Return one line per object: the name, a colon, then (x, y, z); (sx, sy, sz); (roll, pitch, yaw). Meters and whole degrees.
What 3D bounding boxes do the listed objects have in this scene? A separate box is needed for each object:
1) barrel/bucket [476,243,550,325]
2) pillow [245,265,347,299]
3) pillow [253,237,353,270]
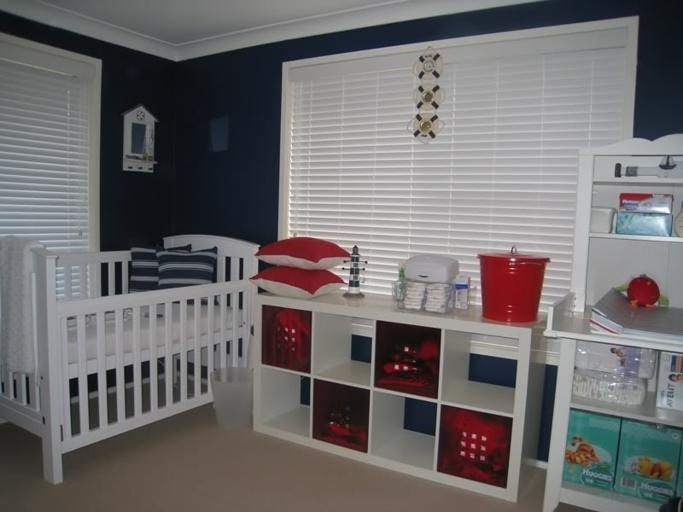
barrel/bucket: (0.993, 0.152, 2.837); (0.392, 0.412, 0.397); (0, 3, 0)
pillow: (-0.278, 0.162, 3.198); (0.312, 0.130, 0.313); (4, 3, 20)
pillow: (-0.230, -0.010, 3.362); (0.552, 0.233, 0.532); (6, 6, 21)
